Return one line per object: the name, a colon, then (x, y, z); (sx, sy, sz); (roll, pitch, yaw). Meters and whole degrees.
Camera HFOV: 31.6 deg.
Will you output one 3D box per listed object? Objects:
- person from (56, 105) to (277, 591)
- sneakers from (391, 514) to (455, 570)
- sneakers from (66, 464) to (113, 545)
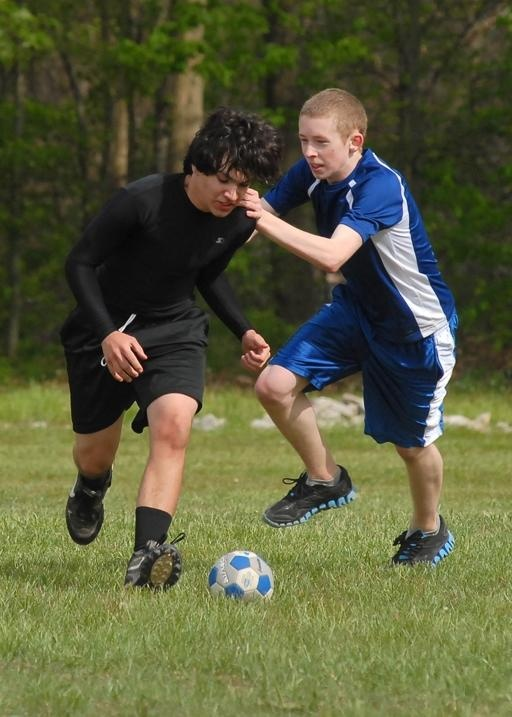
person: (-0.391, -0.024, 3.448); (0.714, 1.827, 0.959); (7, 9, -10)
sneakers: (0.729, 0.825, 3.965); (0.172, 0.146, 0.406); (0, 18, 43)
sneakers: (-0.768, 0.650, 4.061); (0.168, 0.388, 0.171); (8, 17, -18)
